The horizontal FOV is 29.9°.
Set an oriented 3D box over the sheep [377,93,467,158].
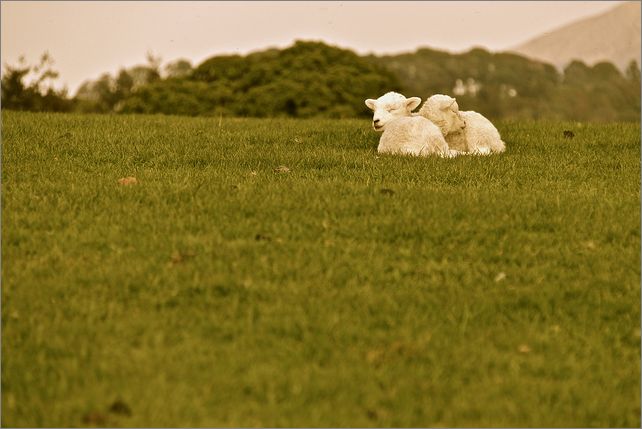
[{"bbox_3d":[1.161,-1.019,14.125,1.163,0.738,0.819,-3,-4,-33],"label":"sheep"}]
